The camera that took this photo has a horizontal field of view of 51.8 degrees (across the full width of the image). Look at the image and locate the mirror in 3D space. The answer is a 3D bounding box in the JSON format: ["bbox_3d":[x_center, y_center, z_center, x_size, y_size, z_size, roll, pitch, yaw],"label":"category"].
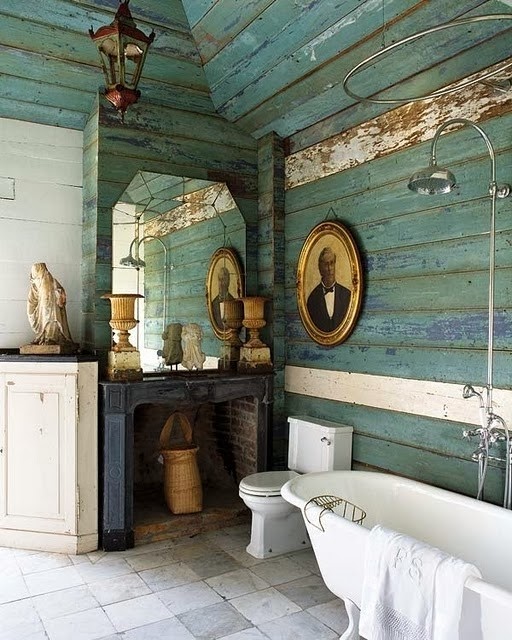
[{"bbox_3d":[-0.536,-0.326,3.635,0.968,1.332,0.134,2,-2,-34],"label":"mirror"}]

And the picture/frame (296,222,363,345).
[{"bbox_3d":[0.475,-0.226,3.271,0.062,0.894,0.872,3,-6,-26],"label":"picture/frame"}]

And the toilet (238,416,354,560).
[{"bbox_3d":[0.195,1.008,3.209,0.698,0.692,0.549,1,-5,-22],"label":"toilet"}]

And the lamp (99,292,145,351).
[{"bbox_3d":[-0.814,0.021,3.279,0.312,0.314,0.278,0,-5,-25],"label":"lamp"}]
